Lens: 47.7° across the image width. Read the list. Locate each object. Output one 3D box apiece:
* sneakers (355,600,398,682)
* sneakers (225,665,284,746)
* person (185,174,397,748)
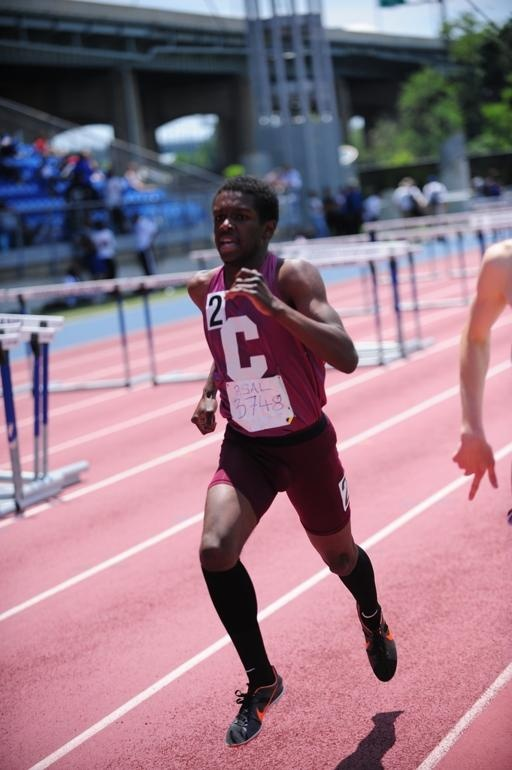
[{"bbox_3d":[0.296,0.652,1.531,0.075,0.220,0.088,-15,-6,-1],"label":"sneakers"},{"bbox_3d":[-0.003,0.664,1.206,0.105,0.120,0.179,-7,3,6],"label":"sneakers"},{"bbox_3d":[0.035,0.177,1.370,0.460,1.085,0.588,-7,3,10],"label":"person"}]
